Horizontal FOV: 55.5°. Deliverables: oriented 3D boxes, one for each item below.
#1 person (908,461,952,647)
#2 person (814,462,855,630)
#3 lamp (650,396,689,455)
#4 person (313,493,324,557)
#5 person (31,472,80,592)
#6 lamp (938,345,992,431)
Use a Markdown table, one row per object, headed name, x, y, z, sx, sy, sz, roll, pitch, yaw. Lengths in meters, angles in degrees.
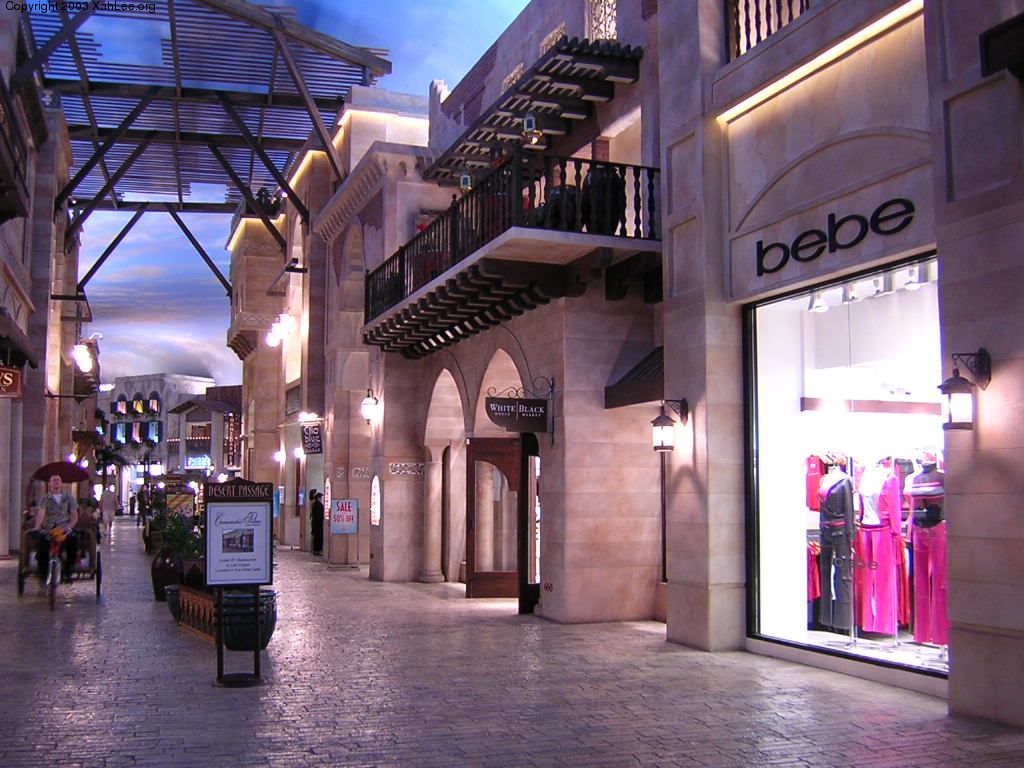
| name | x | y | z | sx | sy | sz | roll | pitch | yaw |
| --- | --- | --- | --- | --- | --- | --- | --- | --- | --- |
| person | 4.821 | 1.906 | 11.289 | 0.245 | 2.190 | 0.552 | 1 | -8 | 1 |
| person | 4.071 | 2.026 | 12.263 | 0.489 | 2.141 | 0.430 | -3 | -8 | 23 |
| lamp | 2.137 | 0.541 | 13.494 | 0.464 | 0.740 | 0.622 | 2 | -8 | -10 |
| person | -6.169 | 4.359 | 30.702 | 0.323 | 1.926 | 0.915 | 3 | -8 | -14 |
| person | -7.868 | 2.496 | 16.836 | 0.627 | 1.992 | 1.065 | 0 | 8 | -20 |
| lamp | 4.463 | 0.029 | 9.604 | 0.331 | 0.869 | 0.442 | 8 | -12 | -30 |
